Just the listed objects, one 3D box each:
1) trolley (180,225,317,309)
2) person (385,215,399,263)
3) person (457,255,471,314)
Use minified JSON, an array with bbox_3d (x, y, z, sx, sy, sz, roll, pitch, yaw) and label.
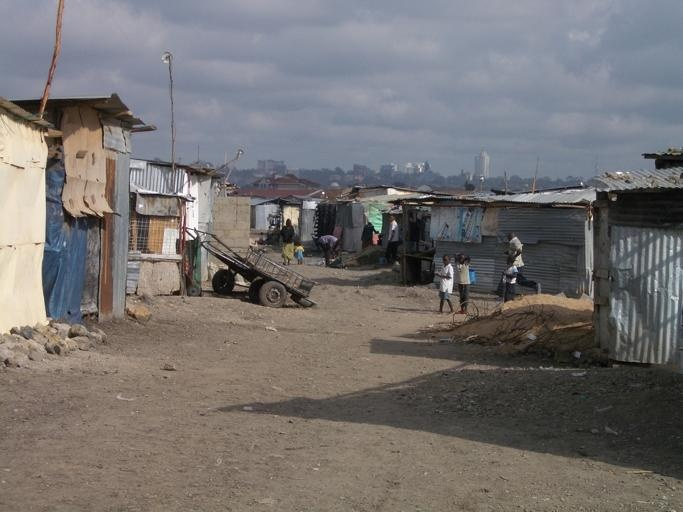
[{"bbox_3d":[-2.524,0.525,20.035,3.723,1.771,2.048,14,-8,-4],"label":"trolley"},{"bbox_3d":[2.081,-0.476,29.601,0.494,1.766,1.127,4,6,3],"label":"person"},{"bbox_3d":[3.238,0.761,19.472,0.358,1.522,1.296,5,6,11],"label":"person"}]
